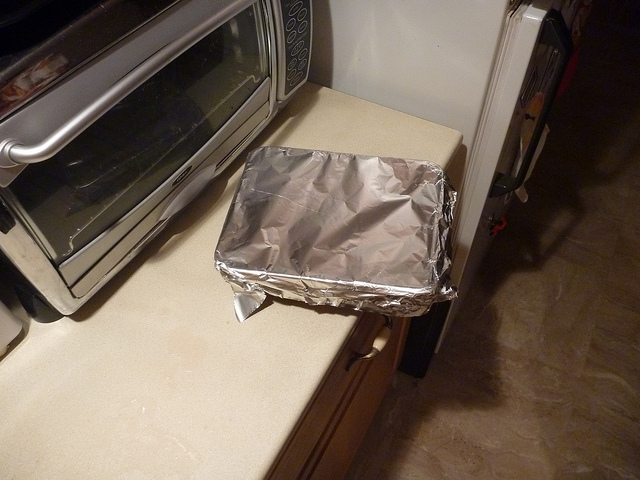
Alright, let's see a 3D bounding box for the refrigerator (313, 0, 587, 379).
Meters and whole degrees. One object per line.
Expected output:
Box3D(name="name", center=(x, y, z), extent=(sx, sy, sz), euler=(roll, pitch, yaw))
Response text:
Box3D(name="refrigerator", center=(0.249, -0.207, 1.181), extent=(0.537, 0.755, 0.253), euler=(6, 43, 12))
